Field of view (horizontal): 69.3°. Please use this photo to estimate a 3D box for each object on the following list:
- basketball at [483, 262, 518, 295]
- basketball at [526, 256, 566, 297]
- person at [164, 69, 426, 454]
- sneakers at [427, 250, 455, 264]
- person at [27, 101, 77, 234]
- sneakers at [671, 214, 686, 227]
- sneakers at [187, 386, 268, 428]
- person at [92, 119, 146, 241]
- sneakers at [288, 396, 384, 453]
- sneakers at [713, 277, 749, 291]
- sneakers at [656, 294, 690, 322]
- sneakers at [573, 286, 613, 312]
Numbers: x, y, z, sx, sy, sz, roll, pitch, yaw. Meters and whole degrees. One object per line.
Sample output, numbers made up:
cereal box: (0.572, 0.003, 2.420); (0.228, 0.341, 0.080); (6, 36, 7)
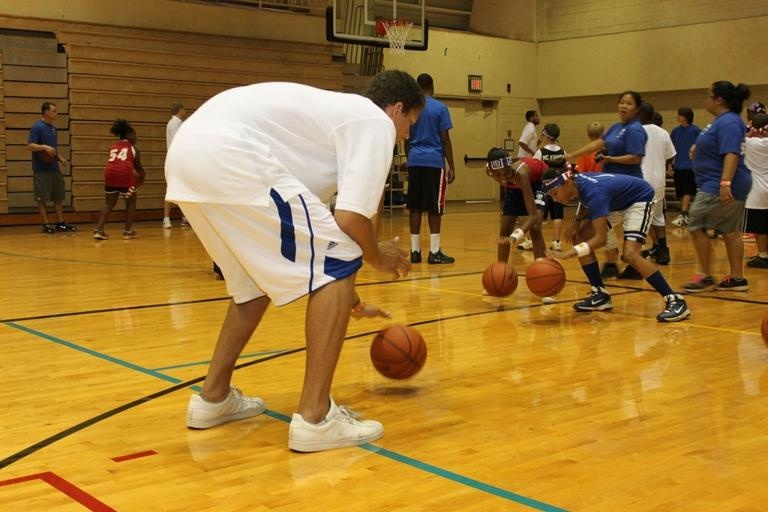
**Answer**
basketball: (0.992, 0.169, 5.020); (0.312, 0.298, 0.304); (-6, 4, -19)
basketball: (1.313, 0.180, 4.613); (0.325, 0.312, 0.325); (10, -1, -42)
person: (-0.443, 0.044, 2.512); (0.960, 1.624, 0.448); (4, 10, 18)
sneakers: (0.731, 0.038, 7.406); (0.434, 0.197, 0.143); (-1, 1, -3)
person: (-6.280, -1.634, 10.418); (0.609, 2.429, 0.883); (-4, 11, -29)
sneakers: (6.395, -0.748, 12.050); (0.189, 0.208, 0.476); (3, 6, 44)
sneakers: (-0.785, 0.736, 2.790); (0.158, 0.158, 0.453); (12, 5, 34)
person: (-4.791, -1.422, 10.077); (0.757, 2.115, 1.313); (-1, 10, -12)
sneakers: (-0.193, 0.780, 2.530); (0.461, 0.193, 0.167); (1, -12, -28)
sneakers: (3.518, 0.277, 5.672); (0.344, 0.140, 0.134); (4, 8, 23)
sneakers: (2.355, 0.425, 4.518); (0.205, 0.207, 0.285); (8, 12, 33)
sneakers: (1.853, 0.398, 4.864); (0.436, 0.252, 0.153); (0, 3, -5)
